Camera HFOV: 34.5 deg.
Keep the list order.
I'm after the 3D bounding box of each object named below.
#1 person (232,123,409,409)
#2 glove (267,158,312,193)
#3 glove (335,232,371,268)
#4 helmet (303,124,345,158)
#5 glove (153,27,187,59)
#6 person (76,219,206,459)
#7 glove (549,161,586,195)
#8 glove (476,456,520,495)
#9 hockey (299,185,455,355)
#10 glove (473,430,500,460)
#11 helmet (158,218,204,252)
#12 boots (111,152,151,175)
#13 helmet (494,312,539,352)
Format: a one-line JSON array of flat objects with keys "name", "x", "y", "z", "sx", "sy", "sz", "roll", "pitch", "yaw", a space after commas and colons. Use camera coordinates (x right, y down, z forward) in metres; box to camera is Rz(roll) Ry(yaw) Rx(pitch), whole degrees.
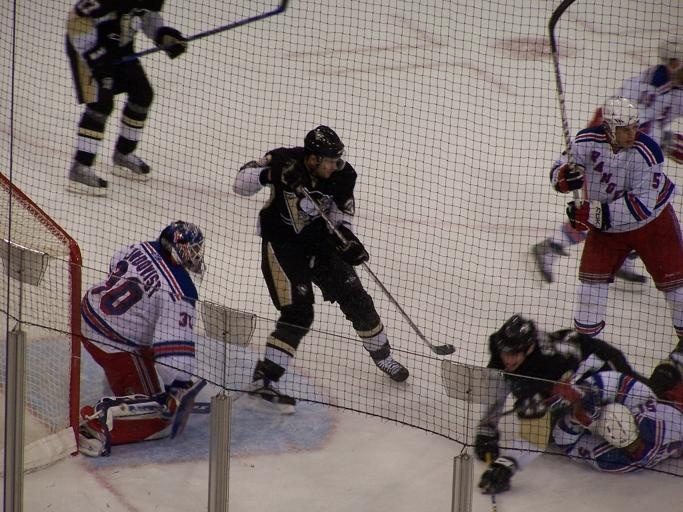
[{"name": "person", "x": -0.182, "y": -0.050, "z": 7.615, "sx": 1.189, "sy": 1.691, "sz": 0.292, "roll": 5, "pitch": 3, "yaw": -8}, {"name": "glove", "x": -0.369, "y": -0.557, "z": 7.486, "sx": 0.215, "sy": 0.224, "sz": 0.098, "roll": 24, "pitch": 50, "yaw": 10}, {"name": "glove", "x": 0.070, "y": -0.050, "z": 7.592, "sx": 0.246, "sy": 0.088, "sz": 0.173, "roll": 49, "pitch": 21, "yaw": -5}, {"name": "helmet", "x": -0.123, "y": -0.772, "z": 7.556, "sx": 0.230, "sy": 0.223, "sz": 0.205, "roll": 1, "pitch": 45, "yaw": 7}, {"name": "glove", "x": -1.460, "y": -1.870, "z": 9.607, "sx": 0.307, "sy": 0.225, "sz": 0.142, "roll": 31, "pitch": 26, "yaw": 17}, {"name": "person", "x": -1.275, "y": 0.519, "z": 7.053, "sx": 0.839, "sy": 1.515, "sz": 0.771, "roll": 5, "pitch": 3, "yaw": -7}, {"name": "glove", "x": 1.592, "y": -0.535, "z": 7.671, "sx": 0.214, "sy": 0.226, "sz": 0.101, "roll": 9, "pitch": 35, "yaw": 35}, {"name": "glove", "x": 0.961, "y": 1.346, "z": 6.805, "sx": 0.243, "sy": 0.158, "sz": 0.116, "roll": 4, "pitch": 3, "yaw": -27}, {"name": "hockey", "x": 0.255, "y": 0.147, "z": 8.249, "sx": 1.763, "sy": 0.256, "sz": 0.168, "roll": 44, "pitch": -20, "yaw": -9}, {"name": "glove", "x": 0.880, "y": 1.138, "z": 6.686, "sx": 0.177, "sy": 0.184, "sz": 0.153, "roll": -2, "pitch": 18, "yaw": -3}, {"name": "helmet", "x": -1.058, "y": -0.132, "z": 7.278, "sx": 0.237, "sy": 0.200, "sz": 0.173, "roll": -24, "pitch": 14, "yaw": 0}, {"name": "boots", "x": -1.887, "y": -0.827, "z": 9.908, "sx": 0.324, "sy": 0.165, "sz": 0.221, "roll": 19, "pitch": -20, "yaw": -12}, {"name": "helmet", "x": 1.092, "y": 0.469, "z": 6.877, "sx": 0.257, "sy": 0.142, "sz": 0.189, "roll": 2, "pitch": 41, "yaw": 13}]
